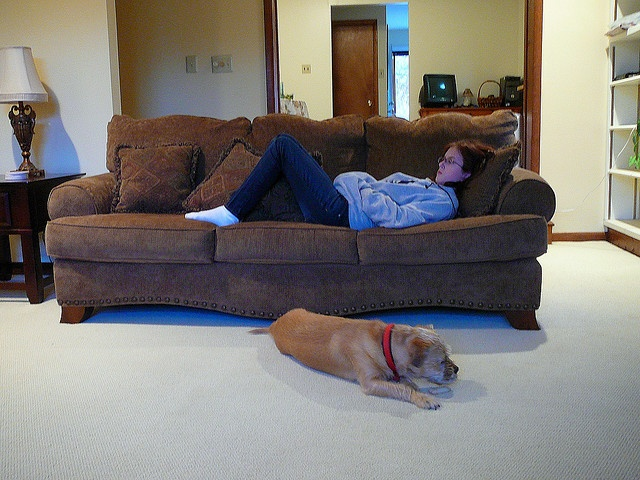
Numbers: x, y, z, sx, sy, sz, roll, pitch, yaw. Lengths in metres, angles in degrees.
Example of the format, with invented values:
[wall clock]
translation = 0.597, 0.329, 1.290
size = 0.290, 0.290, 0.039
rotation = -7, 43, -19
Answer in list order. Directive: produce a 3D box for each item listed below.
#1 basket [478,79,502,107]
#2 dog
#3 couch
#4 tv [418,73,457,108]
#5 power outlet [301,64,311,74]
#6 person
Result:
[basket]
translation = 1.938, -1.667, 6.108
size = 0.263, 0.299, 0.774
rotation = 2, 17, 17
[dog]
translation = 0.151, 0.438, 2.312
size = 0.952, 0.335, 0.307
rotation = 8, 51, 30
[couch]
translation = -0.164, -0.188, 3.203
size = 2.883, 1.128, 1.047
rotation = -2, 16, 5
[tv]
translation = 1.337, -1.654, 5.995
size = 0.313, 0.321, 0.396
rotation = 0, 10, 2
[power outlet]
translation = -0.190, -2.264, 7.054
size = 0.092, 0.110, 0.017
rotation = 2, 10, -3
[person]
translation = 0.084, -0.212, 3.190
size = 1.893, 0.720, 0.687
rotation = 1, 3, 8
